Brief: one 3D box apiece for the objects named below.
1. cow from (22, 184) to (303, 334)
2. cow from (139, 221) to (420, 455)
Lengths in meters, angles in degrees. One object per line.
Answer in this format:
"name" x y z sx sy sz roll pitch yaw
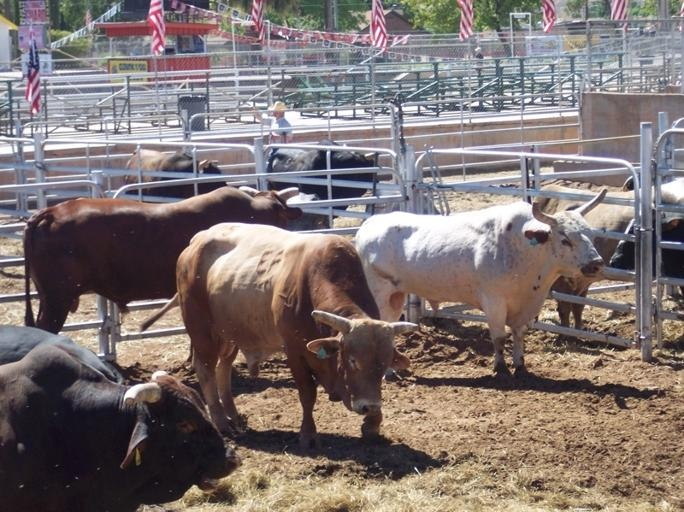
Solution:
"cow" -2.117 0.133 13.679 3.156 1.897 0.921 -4 22 -16
"cow" -0.750 0.889 12.566 1.108 2.350 3.759 1 6 -42
